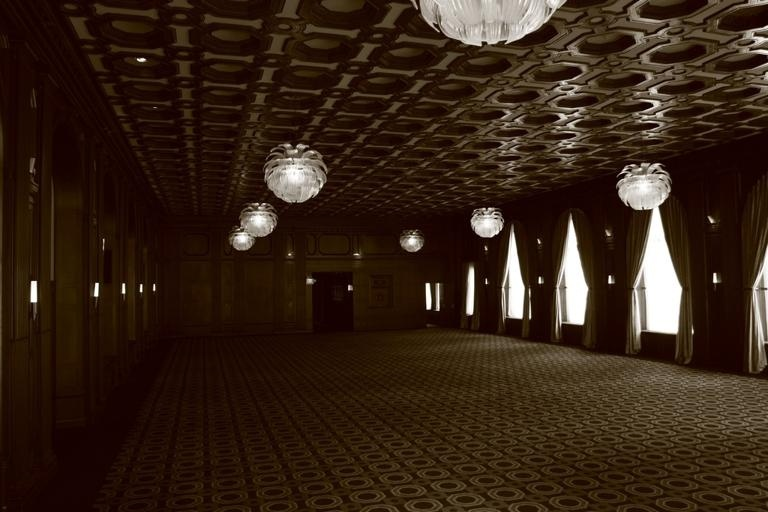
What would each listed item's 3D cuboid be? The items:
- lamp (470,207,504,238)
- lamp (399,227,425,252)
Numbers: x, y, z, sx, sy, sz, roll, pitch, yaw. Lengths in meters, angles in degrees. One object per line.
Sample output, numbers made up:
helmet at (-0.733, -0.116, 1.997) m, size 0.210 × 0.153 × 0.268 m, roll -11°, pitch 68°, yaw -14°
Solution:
lamp at (3.208, -1.028, 15.476) m, size 1.068 × 1.041 × 1.103 m, roll 0°, pitch 2°, yaw 38°
lamp at (1.128, -0.620, 20.554) m, size 0.909 × 0.777 × 0.936 m, roll 1°, pitch 1°, yaw 20°
